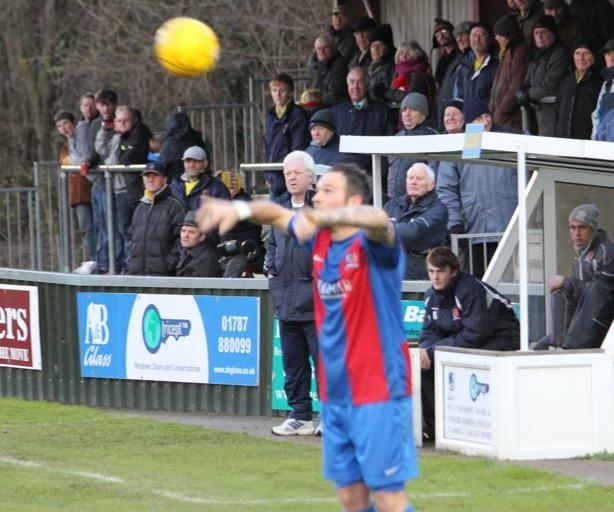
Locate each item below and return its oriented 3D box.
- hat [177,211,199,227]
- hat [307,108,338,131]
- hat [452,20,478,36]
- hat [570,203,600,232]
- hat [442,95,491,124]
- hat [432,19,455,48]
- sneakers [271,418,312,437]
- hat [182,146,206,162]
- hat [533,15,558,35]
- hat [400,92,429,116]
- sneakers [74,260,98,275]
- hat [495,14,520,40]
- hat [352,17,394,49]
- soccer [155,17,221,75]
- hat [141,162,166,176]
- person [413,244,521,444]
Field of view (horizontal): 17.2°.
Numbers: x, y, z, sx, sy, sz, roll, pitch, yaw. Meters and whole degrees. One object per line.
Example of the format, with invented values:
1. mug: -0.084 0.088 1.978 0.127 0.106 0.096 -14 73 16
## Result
1. hat: -1.560 -0.460 26.755 0.268 0.137 0.340 2 -17 1
2. hat: 0.207 -1.795 27.129 0.280 0.269 0.300 6 2 17
3. hat: 2.171 -3.098 28.015 0.279 0.205 0.546 0 1 2
4. hat: 3.372 -0.453 24.590 0.275 0.305 0.311 -4 0 -1
5. hat: 2.088 -1.877 26.358 0.449 0.245 0.331 -11 10 35
6. hat: 1.964 -3.111 28.717 0.230 0.396 0.535 0 1 -27
7. sneakers: -0.170 2.142 25.304 0.542 0.273 0.200 4 -5 -8
8. hat: -1.512 -1.355 27.464 0.381 0.204 0.332 -1 1 -25
9. hat: 3.200 -3.050 27.141 0.244 0.228 0.278 13 -25 21
10. hat: 1.421 -1.981 26.949 0.351 0.323 0.437 0 1 0
11. sneakers: -3.101 0.197 28.439 0.172 0.140 0.425 -11 8 5
12. hat: 2.732 -3.043 27.592 0.291 0.247 0.311 11 28 16
13. hat: 1.007 -3.197 29.832 0.572 0.328 0.398 26 -5 -40
14. soccer: -1.522 -2.552 25.359 0.745 0.645 0.617 6 0 17
15. hat: -2.065 -1.146 27.268 0.307 0.205 0.526 0 1 -6
16. person: 1.961 1.094 24.825 1.335 2.371 1.090 -4 5 -10
